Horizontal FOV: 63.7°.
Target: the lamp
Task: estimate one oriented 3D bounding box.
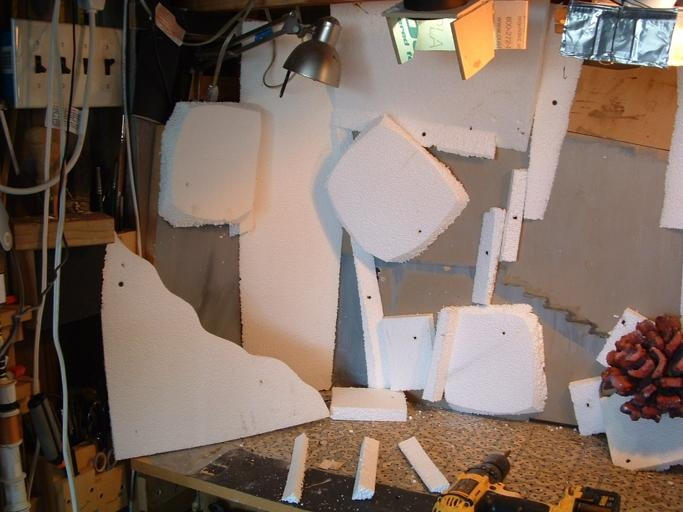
[{"bbox_3d":[-0.170,-0.652,1.757,0.283,0.266,0.450,-8,19,-35],"label":"lamp"}]
